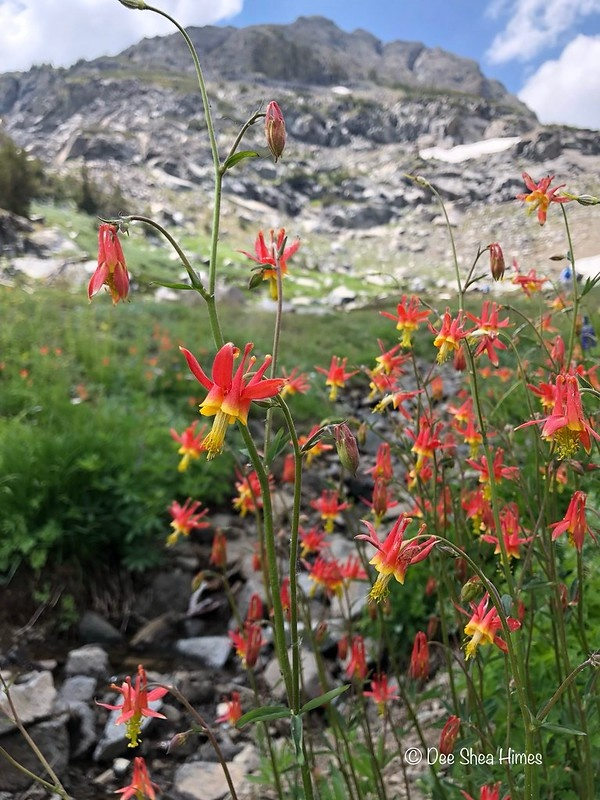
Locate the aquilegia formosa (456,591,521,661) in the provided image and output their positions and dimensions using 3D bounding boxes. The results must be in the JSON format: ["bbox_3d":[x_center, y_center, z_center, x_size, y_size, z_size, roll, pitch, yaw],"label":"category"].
[{"bbox_3d":[0.577,0.660,2.241,0.185,0.197,0.202,16,-7,14],"label":"aquilegia formosa"}]

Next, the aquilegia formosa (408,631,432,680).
[{"bbox_3d":[0.436,0.938,2.851,0.086,0.157,0.214,-11,-5,5],"label":"aquilegia formosa"}]

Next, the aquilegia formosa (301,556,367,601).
[{"bbox_3d":[0.160,0.740,3.399,0.250,0.156,0.268,17,-17,20],"label":"aquilegia formosa"}]

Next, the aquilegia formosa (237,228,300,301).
[{"bbox_3d":[-0.087,-0.434,2.519,0.224,0.235,0.188,-5,1,7],"label":"aquilegia formosa"}]

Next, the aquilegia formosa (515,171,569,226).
[{"bbox_3d":[0.802,-0.696,2.639,0.152,0.136,0.179,7,5,-39],"label":"aquilegia formosa"}]
